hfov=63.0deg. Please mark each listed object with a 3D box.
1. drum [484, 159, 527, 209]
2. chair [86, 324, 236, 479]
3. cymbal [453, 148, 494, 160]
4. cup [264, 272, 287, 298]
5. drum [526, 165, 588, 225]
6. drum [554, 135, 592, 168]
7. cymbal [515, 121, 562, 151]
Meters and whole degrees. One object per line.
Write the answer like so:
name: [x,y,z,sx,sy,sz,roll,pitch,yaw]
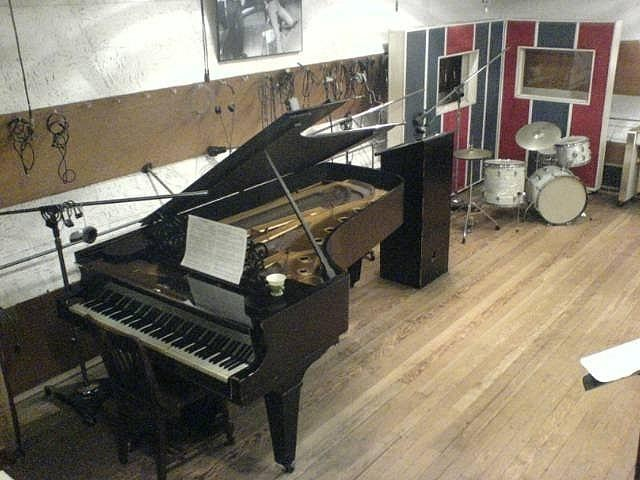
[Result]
drum: [2.377,-0.785,7.061,0.617,0.584,0.602,-2,23,-1]
chair: [-1.043,1.122,3.535,0.664,1.087,0.736,21,36,35]
cymbal: [1.979,-1.099,6.826,0.336,0.077,0.327,-3,25,-4]
cup: [-0.276,0.294,3.367,0.112,0.108,0.142,-10,18,-33]
drum: [3.196,-0.570,7.064,0.710,0.696,0.473,-11,21,-2]
drum: [3.493,-1.208,7.179,0.475,0.337,0.468,-8,17,2]
cymbal: [2.920,-1.377,6.984,0.535,0.322,0.428,3,24,17]
